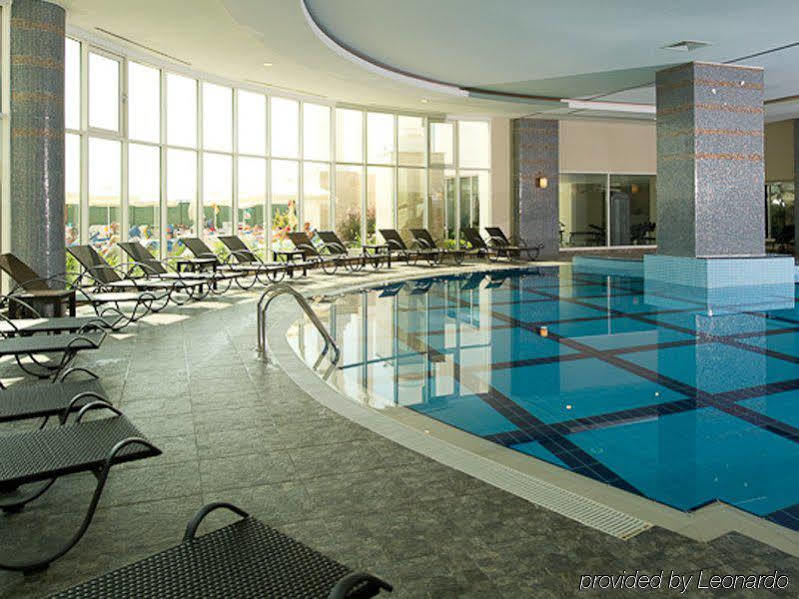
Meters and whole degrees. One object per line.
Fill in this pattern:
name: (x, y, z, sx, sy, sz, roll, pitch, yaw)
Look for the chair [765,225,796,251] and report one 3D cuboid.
chair: (12.830, -2.018, 18.505, 0.712, 0.909, 3.041, 2, 9, 32)
